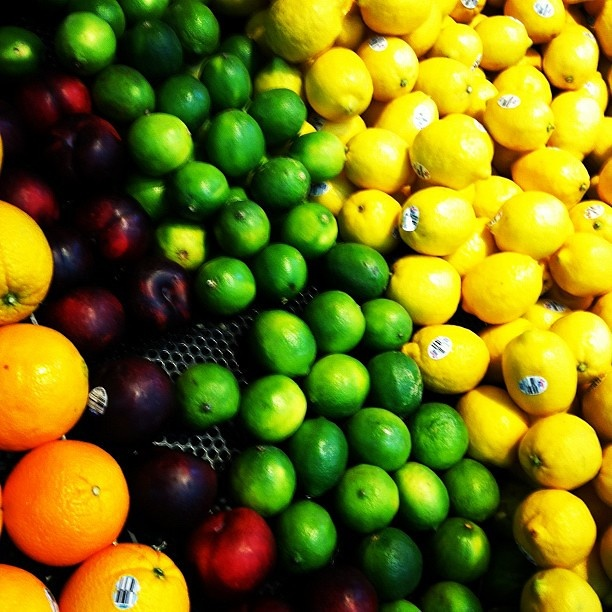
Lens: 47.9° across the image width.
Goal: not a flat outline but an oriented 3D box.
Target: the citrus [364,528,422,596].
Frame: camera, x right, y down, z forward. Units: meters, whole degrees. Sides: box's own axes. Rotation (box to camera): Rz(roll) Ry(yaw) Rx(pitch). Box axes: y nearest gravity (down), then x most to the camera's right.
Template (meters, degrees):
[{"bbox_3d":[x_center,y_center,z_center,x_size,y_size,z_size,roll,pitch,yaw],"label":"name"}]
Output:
[{"bbox_3d":[0.228,0.703,1.883,0.142,0.074,0.177,0,67,-18],"label":"citrus"}]

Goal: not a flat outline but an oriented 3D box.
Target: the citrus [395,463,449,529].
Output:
[{"bbox_3d":[0.327,0.558,2.057,0.114,0.136,0.183,-9,49,-13],"label":"citrus"}]

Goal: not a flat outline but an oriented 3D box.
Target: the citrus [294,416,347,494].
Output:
[{"bbox_3d":[0.035,0.405,1.945,0.128,0.142,0.208,4,86,-8],"label":"citrus"}]

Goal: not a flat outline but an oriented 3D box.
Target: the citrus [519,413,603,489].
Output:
[{"bbox_3d":[0.773,0.444,2.092,0.214,0.160,0.212,-22,74,-24],"label":"citrus"}]

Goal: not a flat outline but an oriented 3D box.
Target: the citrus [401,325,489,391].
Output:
[{"bbox_3d":[0.450,0.167,2.283,0.220,0.190,0.203,8,45,3],"label":"citrus"}]

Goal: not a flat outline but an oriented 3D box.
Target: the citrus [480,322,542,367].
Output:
[{"bbox_3d":[0.694,0.098,2.376,0.134,0.173,0.152,-11,65,-28],"label":"citrus"}]

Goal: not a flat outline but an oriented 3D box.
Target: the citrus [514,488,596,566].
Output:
[{"bbox_3d":[0.747,0.641,2.025,0.177,0.190,0.234,-6,99,5],"label":"citrus"}]

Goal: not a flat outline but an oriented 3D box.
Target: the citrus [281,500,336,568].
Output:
[{"bbox_3d":[0.000,0.616,1.898,0.111,0.135,0.171,-8,49,-14],"label":"citrus"}]

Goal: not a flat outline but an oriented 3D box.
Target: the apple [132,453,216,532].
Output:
[{"bbox_3d":[-0.341,0.445,1.829,0.181,0.193,0.183,-34,112,-2],"label":"apple"}]

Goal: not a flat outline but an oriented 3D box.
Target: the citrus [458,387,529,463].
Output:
[{"bbox_3d":[0.580,0.398,2.280,0.244,0.183,0.210,30,100,41],"label":"citrus"}]

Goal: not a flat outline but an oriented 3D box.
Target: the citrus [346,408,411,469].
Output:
[{"bbox_3d":[0.217,0.391,2.032,0.193,0.114,0.170,19,62,-8],"label":"citrus"}]

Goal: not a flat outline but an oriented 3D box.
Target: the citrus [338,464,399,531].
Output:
[{"bbox_3d":[0.184,0.535,2.003,0.141,0.200,0.177,-12,51,0],"label":"citrus"}]

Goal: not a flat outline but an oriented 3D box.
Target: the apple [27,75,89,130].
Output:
[{"bbox_3d":[-0.732,-0.596,2.026,0.207,0.088,0.120,-33,79,-27],"label":"apple"}]

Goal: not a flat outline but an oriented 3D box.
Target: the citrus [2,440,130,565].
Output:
[{"bbox_3d":[-0.557,0.446,1.595,0.282,0.113,0.269,6,65,-15],"label":"citrus"}]

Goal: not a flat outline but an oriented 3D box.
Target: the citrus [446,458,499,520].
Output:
[{"bbox_3d":[0.493,0.554,2.144,0.126,0.133,0.183,-20,79,-23],"label":"citrus"}]

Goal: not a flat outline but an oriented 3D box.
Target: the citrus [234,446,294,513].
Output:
[{"bbox_3d":[-0.118,0.449,1.876,0.145,0.191,0.182,-5,81,-2],"label":"citrus"}]
